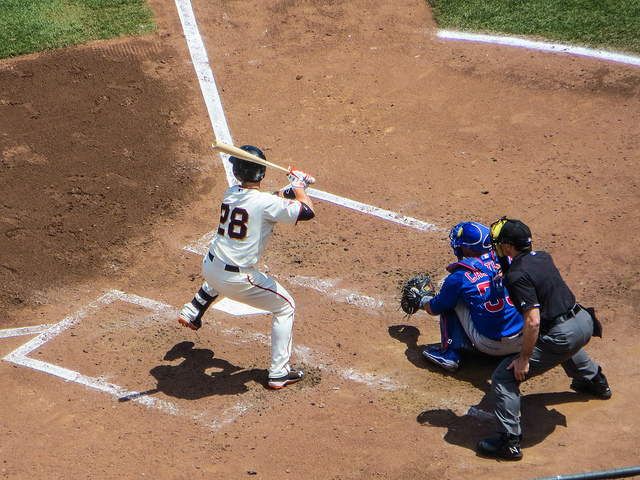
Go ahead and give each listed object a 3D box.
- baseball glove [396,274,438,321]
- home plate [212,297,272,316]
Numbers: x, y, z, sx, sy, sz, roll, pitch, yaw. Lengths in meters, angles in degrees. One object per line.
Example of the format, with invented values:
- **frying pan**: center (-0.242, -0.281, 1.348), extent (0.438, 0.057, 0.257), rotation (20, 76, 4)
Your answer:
- **baseball glove**: center (1.319, 0.782, 11.169), extent (0.310, 0.610, 0.442), rotation (44, 27, -14)
- **home plate**: center (-1.143, 0.985, 11.626), extent (0.679, 0.124, 0.282), rotation (23, 54, 14)
